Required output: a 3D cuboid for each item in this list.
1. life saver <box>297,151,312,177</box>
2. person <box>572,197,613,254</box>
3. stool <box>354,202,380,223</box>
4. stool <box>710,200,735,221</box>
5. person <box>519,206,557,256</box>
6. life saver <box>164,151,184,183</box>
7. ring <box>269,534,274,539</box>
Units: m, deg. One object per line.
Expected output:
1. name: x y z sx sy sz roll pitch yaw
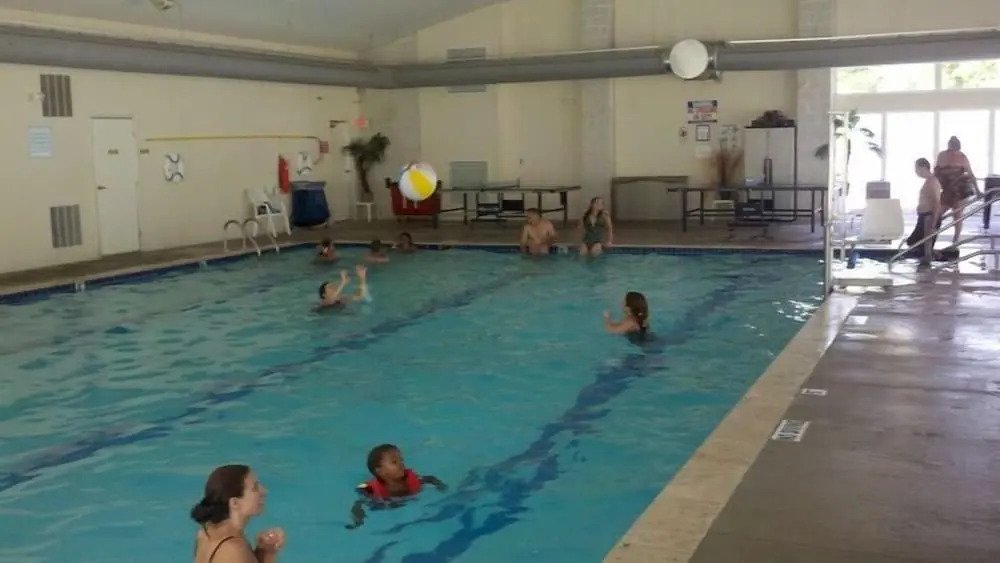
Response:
1. life saver: -5.409 -3.274 18.211 0.164 0.640 0.566 -1 11 17
2. person: 1.984 -1.212 13.980 0.729 1.138 1.034 -3 11 6
3. stool: -4.056 -2.102 19.942 0.691 0.484 0.649 0 3 1
4. stool: 5.774 -1.928 16.942 0.824 0.585 0.788 0 4 16
5. person: 0.773 -0.948 14.025 0.845 1.106 0.608 -13 13 -19
6. life saver: -7.422 -2.592 14.973 0.090 0.636 0.475 2 13 33
7. ring: -1.607 1.779 4.626 0.034 0.010 0.031 0 5 0
